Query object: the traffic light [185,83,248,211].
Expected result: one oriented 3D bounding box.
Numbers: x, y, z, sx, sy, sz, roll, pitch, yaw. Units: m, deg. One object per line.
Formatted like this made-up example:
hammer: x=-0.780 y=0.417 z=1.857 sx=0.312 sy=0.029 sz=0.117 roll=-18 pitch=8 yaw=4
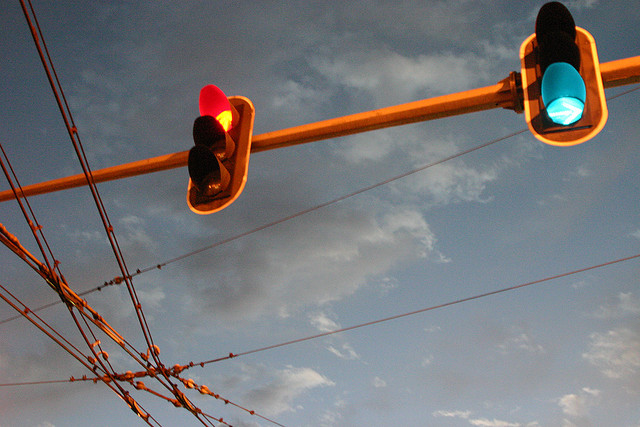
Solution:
traffic light: x=-1.573 y=-1.051 z=10.552 sx=0.855 sy=2.308 sz=0.681 roll=-8 pitch=-36 yaw=11
